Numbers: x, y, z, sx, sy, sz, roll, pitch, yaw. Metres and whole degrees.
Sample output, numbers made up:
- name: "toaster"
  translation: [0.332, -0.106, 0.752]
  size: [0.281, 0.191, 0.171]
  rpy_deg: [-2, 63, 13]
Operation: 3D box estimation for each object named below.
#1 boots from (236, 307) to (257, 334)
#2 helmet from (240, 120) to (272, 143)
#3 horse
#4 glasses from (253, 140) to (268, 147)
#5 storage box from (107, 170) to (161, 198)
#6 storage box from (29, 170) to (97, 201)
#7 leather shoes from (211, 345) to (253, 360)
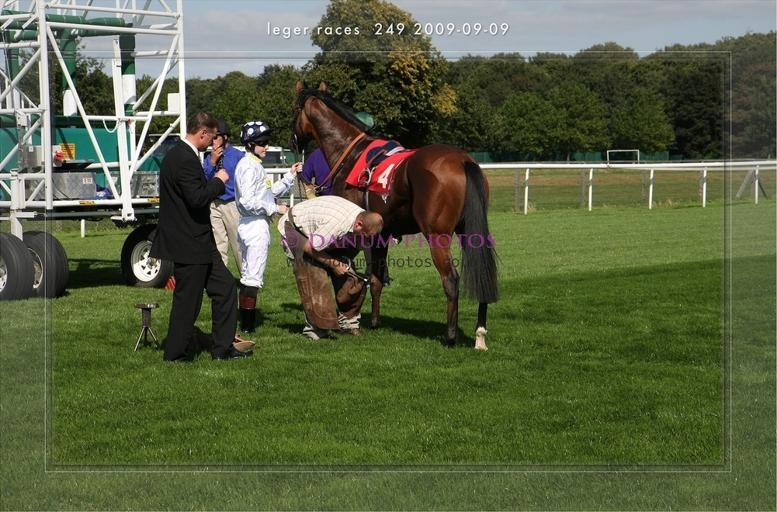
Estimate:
- name: "boots"
  translation: [-1.710, 0.761, 11.825]
  size: [0.284, 0.329, 0.268]
  rpy_deg: [1, 3, 35]
- name: "helmet"
  translation: [-1.565, -1.425, 11.507]
  size: [0.304, 0.163, 0.231]
  rpy_deg: [-12, 6, 23]
- name: "horse"
  translation: [-0.033, -0.543, 11.888]
  size: [3.414, 2.749, 0.866]
  rpy_deg: [13, 17, 43]
- name: "glasses"
  translation: [-1.497, -1.319, 11.487]
  size: [0.100, 0.044, 0.079]
  rpy_deg: [-11, 9, 3]
- name: "storage box"
  translation: [-3.531, -0.982, 13.546]
  size: [0.460, 0.302, 0.308]
  rpy_deg: [-3, 6, -44]
- name: "storage box"
  translation: [-4.253, -0.951, 13.290]
  size: [0.581, 0.387, 0.282]
  rpy_deg: [-5, 7, -23]
- name: "leather shoes"
  translation: [-1.749, 1.093, 11.055]
  size: [0.466, 0.194, 0.159]
  rpy_deg: [-5, 6, -34]
